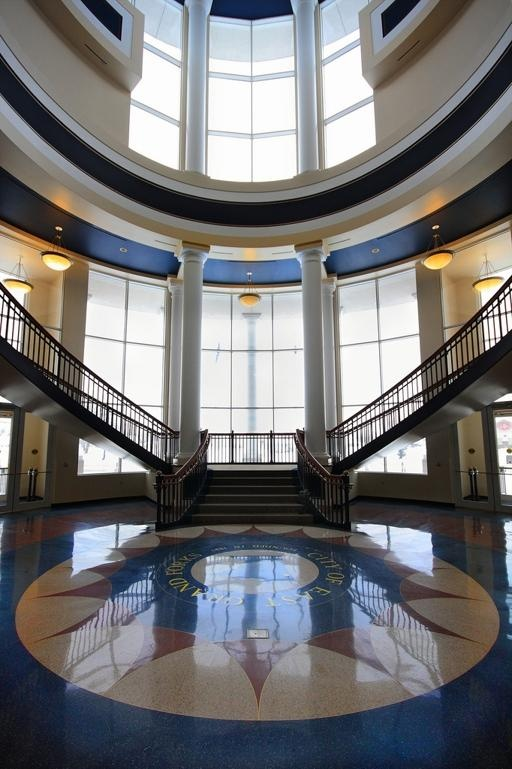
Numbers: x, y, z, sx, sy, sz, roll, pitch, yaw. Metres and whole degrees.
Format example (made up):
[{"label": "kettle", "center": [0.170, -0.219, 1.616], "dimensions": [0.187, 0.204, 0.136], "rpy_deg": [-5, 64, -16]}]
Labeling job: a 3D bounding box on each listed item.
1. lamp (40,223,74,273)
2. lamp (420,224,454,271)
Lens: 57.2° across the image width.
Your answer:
[{"label": "lamp", "center": [-4.087, -2.892, 9.644], "dimensions": [0.494, 0.936, 0.539], "rpy_deg": [-6, -23, 11]}, {"label": "lamp", "center": [3.758, -2.730, 9.737], "dimensions": [0.485, 0.953, 1.838], "rpy_deg": [-2, -7, 20]}]
